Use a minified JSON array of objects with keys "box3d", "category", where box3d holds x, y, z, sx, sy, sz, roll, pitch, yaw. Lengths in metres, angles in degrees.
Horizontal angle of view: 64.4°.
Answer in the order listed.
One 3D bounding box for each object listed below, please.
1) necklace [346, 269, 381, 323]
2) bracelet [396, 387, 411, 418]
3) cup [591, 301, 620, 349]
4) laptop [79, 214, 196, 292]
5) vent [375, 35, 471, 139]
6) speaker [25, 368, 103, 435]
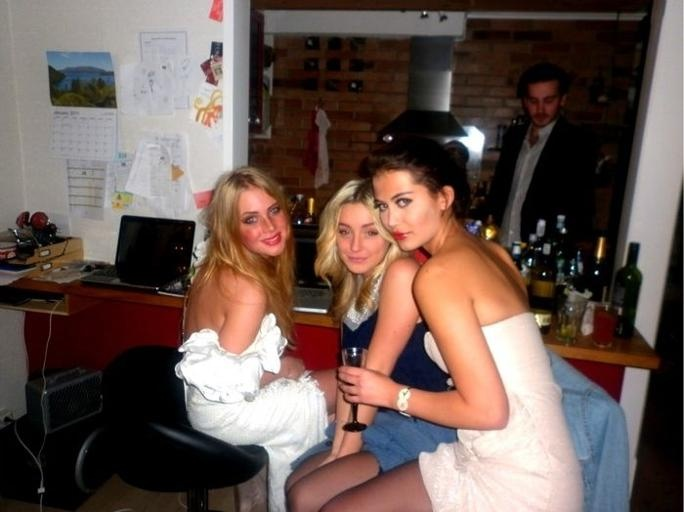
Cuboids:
[{"box3d":[0.084,0.190,2.473,0.062,0.216,0.157,22,-19,-32],"category":"necklace"},{"box3d":[0.223,0.564,2.056,0.026,0.087,0.073,7,-4,3],"category":"bracelet"},{"box3d":[1.281,0.347,2.663,0.131,0.232,0.139,2,4,0],"category":"cup"},{"box3d":[-1.128,-0.028,3.012,0.511,0.331,0.389,7,11,15],"category":"laptop"},{"box3d":[0.863,-1.611,5.391,0.726,0.872,0.642,6,3,15],"category":"vent"},{"box3d":[-1.521,0.774,2.995,0.192,0.290,0.356,5,2,13],"category":"speaker"}]
